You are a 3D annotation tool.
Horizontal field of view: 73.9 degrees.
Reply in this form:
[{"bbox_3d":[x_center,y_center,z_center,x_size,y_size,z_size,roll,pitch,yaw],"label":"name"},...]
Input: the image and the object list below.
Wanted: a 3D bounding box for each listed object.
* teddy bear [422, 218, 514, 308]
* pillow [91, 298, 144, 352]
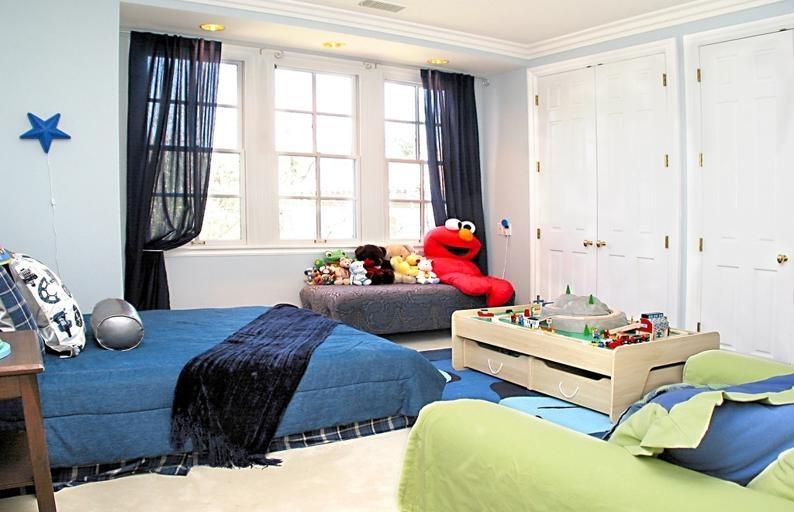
[{"bbox_3d":[0.728,0.049,5.963,0.884,0.889,1.257,2,12,-32],"label":"teddy bear"},{"bbox_3d":[-1.774,0.381,3.303,0.300,0.237,0.603,0,13,-36],"label":"pillow"}]
